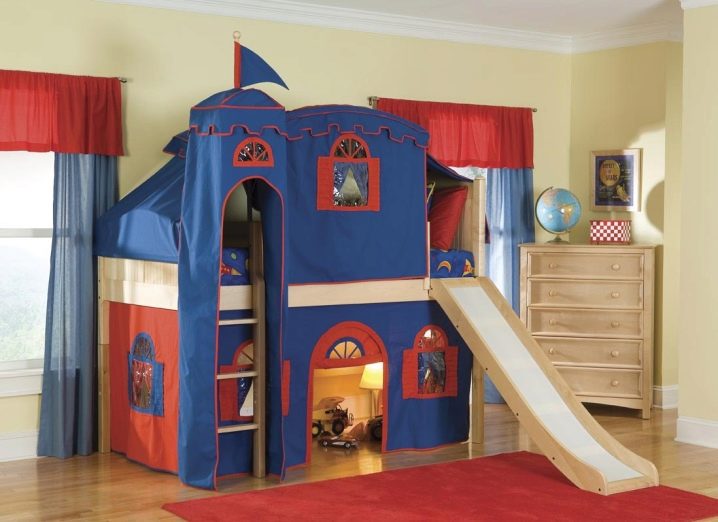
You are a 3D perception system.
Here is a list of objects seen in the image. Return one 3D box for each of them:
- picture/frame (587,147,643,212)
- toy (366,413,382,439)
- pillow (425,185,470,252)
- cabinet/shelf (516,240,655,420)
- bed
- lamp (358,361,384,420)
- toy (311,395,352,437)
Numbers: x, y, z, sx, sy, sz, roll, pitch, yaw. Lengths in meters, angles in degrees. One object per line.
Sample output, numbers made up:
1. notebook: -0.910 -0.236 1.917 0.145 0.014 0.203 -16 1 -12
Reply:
1. picture/frame: 2.432 -0.755 6.912 0.453 0.574 0.042 1 4 30
2. toy: 0.121 1.312 5.808 0.116 0.180 0.149 0 3 7
3. pillow: 0.694 -0.351 5.828 0.134 0.480 0.435 11 -13 -31
4. cabinet/shelf: 1.952 0.593 6.201 1.422 2.028 0.769 0 -1 9
5. bed: -0.340 -0.113 6.209 3.051 0.406 0.884 -4 5 -34
6. lamp: 0.097 1.067 6.023 0.179 0.479 0.257 -1 3 -4
7. toy: -0.239 1.232 5.828 0.328 0.337 0.215 -2 2 -9
